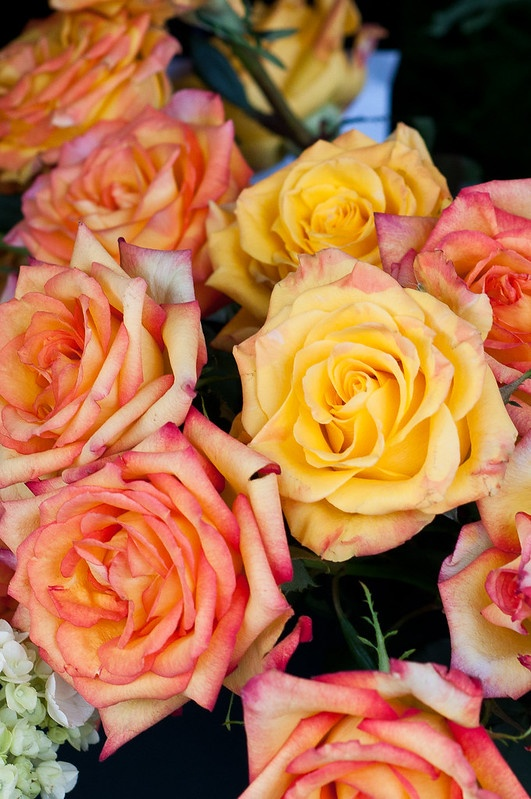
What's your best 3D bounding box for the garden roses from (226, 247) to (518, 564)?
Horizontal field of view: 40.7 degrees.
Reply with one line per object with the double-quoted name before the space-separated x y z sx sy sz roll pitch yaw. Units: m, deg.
"garden roses" 0.046 -0.003 0.391 0.131 0.083 0.157 -27 59 -2
